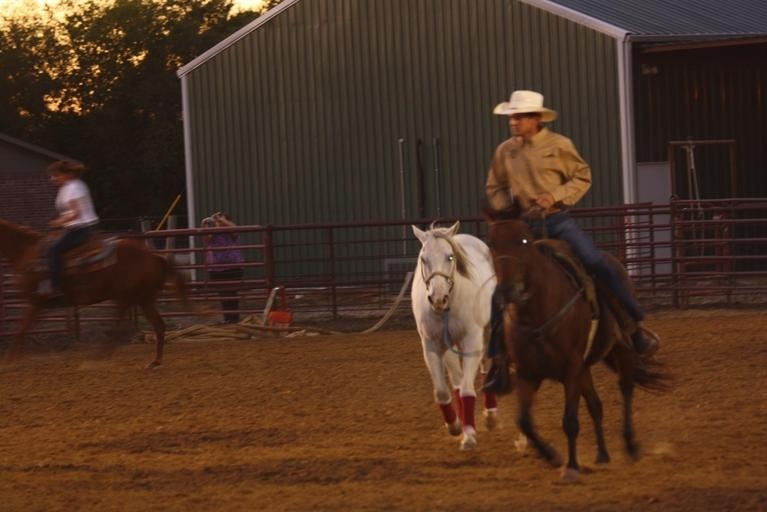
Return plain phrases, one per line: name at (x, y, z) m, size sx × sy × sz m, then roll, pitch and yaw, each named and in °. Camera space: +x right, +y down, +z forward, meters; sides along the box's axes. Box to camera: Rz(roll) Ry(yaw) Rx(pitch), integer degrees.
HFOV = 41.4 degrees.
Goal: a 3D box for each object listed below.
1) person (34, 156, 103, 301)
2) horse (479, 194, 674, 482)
person at (-5.310, -0.472, 17.137) m, size 0.915 × 2.347 × 1.042 m, roll -2°, pitch 2°, yaw -24°
horse at (2.371, 1.063, 13.164) m, size 2.234 × 3.404 × 0.638 m, roll -2°, pitch 2°, yaw -23°
